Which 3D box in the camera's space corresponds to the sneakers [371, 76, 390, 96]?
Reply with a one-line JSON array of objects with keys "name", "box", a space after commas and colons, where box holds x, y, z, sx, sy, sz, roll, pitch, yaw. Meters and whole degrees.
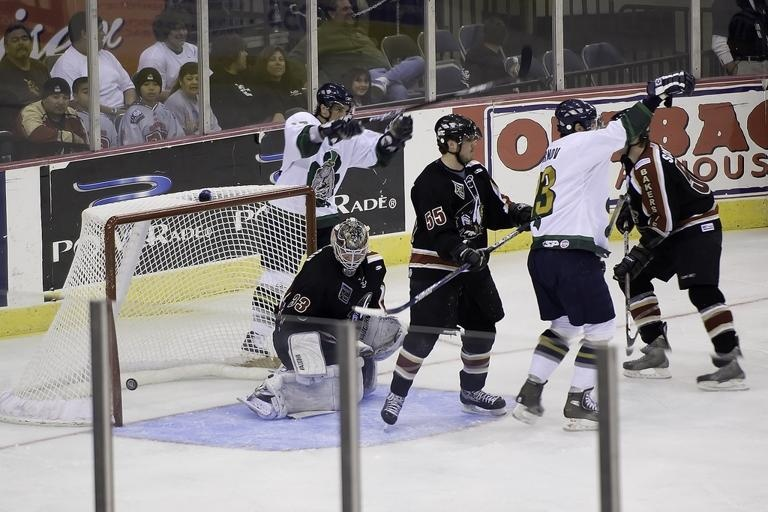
[{"name": "sneakers", "box": [-0.023, -1.444, 7.868, 0.074, 0.080, 0.212, -23, -47, 24]}]

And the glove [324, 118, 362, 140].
[{"name": "glove", "box": [-0.240, -0.717, 5.248, 0.169, 0.070, 0.129, 4, 13, 39]}]

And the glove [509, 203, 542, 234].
[{"name": "glove", "box": [0.709, -0.200, 4.682, 0.153, 0.063, 0.118, 38, -11, -29]}]

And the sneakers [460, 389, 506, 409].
[{"name": "sneakers", "box": [0.367, 0.511, 3.339, 0.168, 0.070, 0.056, 1, 6, 28]}]

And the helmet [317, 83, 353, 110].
[{"name": "helmet", "box": [-0.303, -0.959, 5.596, 0.193, 0.163, 0.156, 8, 12, 17]}]

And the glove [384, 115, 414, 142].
[{"name": "glove", "box": [0.052, -0.743, 5.353, 0.126, 0.142, 0.155, -5, 16, -36]}]

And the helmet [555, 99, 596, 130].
[{"name": "helmet", "box": [0.951, -0.700, 4.680, 0.196, 0.170, 0.144, -7, 27, 3]}]

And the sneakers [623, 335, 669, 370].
[{"name": "sneakers", "box": [0.976, 0.378, 3.530, 0.229, 0.147, 0.068, -1, 1, -19]}]

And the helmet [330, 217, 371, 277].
[{"name": "helmet", "box": [-0.203, -0.081, 4.599, 0.254, 0.173, 0.210, -7, -28, -2]}]

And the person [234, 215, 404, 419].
[{"name": "person", "box": [-0.338, 0.305, 4.464, 0.607, 0.902, 0.913, 14, 15, 37]}]

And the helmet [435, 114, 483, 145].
[{"name": "helmet", "box": [0.354, -0.629, 4.671, 0.232, 0.169, 0.191, -10, 14, 11]}]

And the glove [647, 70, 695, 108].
[{"name": "glove", "box": [1.428, -0.840, 4.619, 0.223, 0.092, 0.217, -22, 3, 18]}]

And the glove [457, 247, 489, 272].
[{"name": "glove", "box": [0.430, 0.012, 4.488, 0.110, 0.060, 0.142, -2, 13, -29]}]

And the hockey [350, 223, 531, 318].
[{"name": "hockey", "box": [0.312, 0.096, 5.344, 1.213, 0.067, 0.199, -27, 29, -5]}]

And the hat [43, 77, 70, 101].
[{"name": "hat", "box": [-2.330, -1.186, 6.564, 0.174, 0.119, 0.122, 2, 0, -22]}]

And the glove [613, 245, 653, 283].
[{"name": "glove", "box": [1.311, 0.043, 4.959, 0.142, 0.235, 0.096, 48, 5, 36]}]

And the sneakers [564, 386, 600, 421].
[{"name": "sneakers", "box": [0.676, 0.484, 3.042, 0.163, 0.099, 0.053, 8, 7, -3]}]
